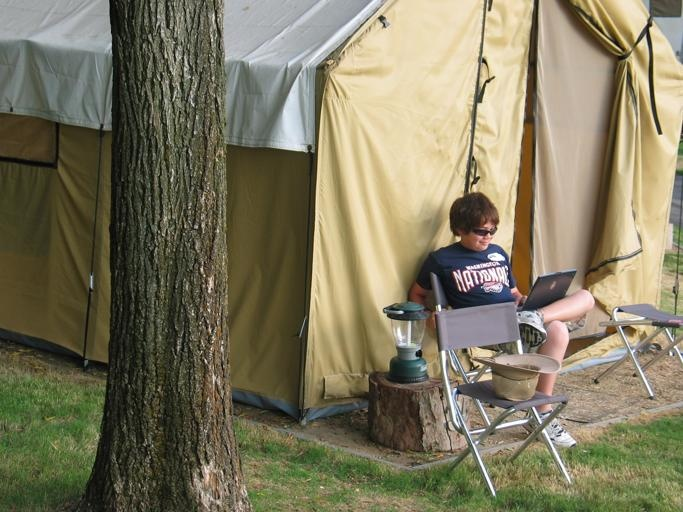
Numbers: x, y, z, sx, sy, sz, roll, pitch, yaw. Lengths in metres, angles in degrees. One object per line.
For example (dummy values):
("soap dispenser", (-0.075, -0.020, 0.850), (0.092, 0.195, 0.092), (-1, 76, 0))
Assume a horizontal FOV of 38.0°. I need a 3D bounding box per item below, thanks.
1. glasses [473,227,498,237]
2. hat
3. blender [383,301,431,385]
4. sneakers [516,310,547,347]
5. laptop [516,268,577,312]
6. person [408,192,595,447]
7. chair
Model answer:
("glasses", (1.115, -0.177, 7.590), (0.099, 0.073, 0.243), (-2, -3, 43))
("hat", (1.158, 0.801, 6.556), (0.503, 0.298, 0.372), (1, -2, -21))
("blender", (0.481, 0.636, 7.370), (0.332, 0.584, 0.401), (0, -2, 8))
("sneakers", (1.423, 0.554, 7.432), (0.108, 0.098, 0.262), (-14, 43, -27))
("laptop", (1.612, 0.265, 7.774), (0.382, 0.307, 0.301), (-9, 40, -43))
("person", (1.303, 0.609, 7.813), (1.075, 1.986, 1.199), (-12, 20, -43))
("chair", (1.082, 0.789, 6.804), (0.787, 1.383, 0.765), (14, 19, 40))
